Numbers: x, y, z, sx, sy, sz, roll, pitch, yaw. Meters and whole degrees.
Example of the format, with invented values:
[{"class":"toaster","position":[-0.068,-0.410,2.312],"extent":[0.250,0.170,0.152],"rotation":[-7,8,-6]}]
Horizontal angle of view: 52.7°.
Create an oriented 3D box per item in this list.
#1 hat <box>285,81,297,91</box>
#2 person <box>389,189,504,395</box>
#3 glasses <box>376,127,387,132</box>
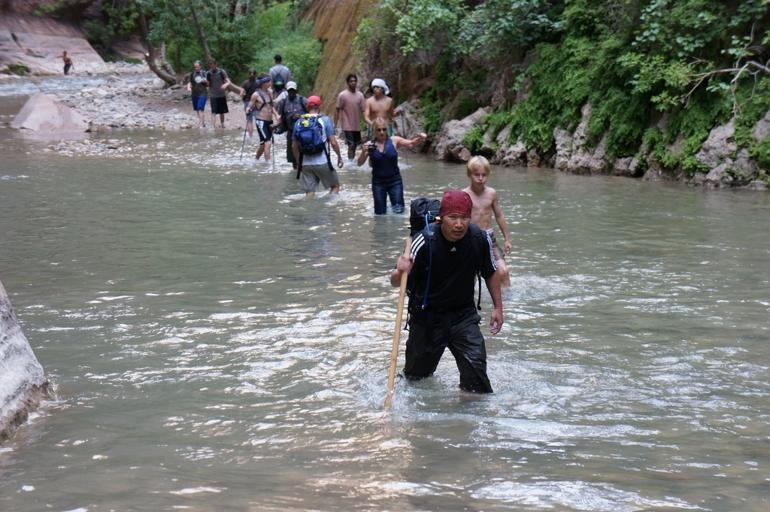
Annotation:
[{"class":"hat","position":[-2.231,-4.173,18.838],"extent":[0.329,0.152,0.385],"rotation":[2,3,-7]},{"class":"person","position":[0.690,0.369,8.012],"extent":[1.022,2.103,0.456],"rotation":[-1,14,5]},{"class":"glasses","position":[-0.048,-2.358,14.435],"extent":[0.160,0.097,0.076],"rotation":[-6,13,-24]}]
